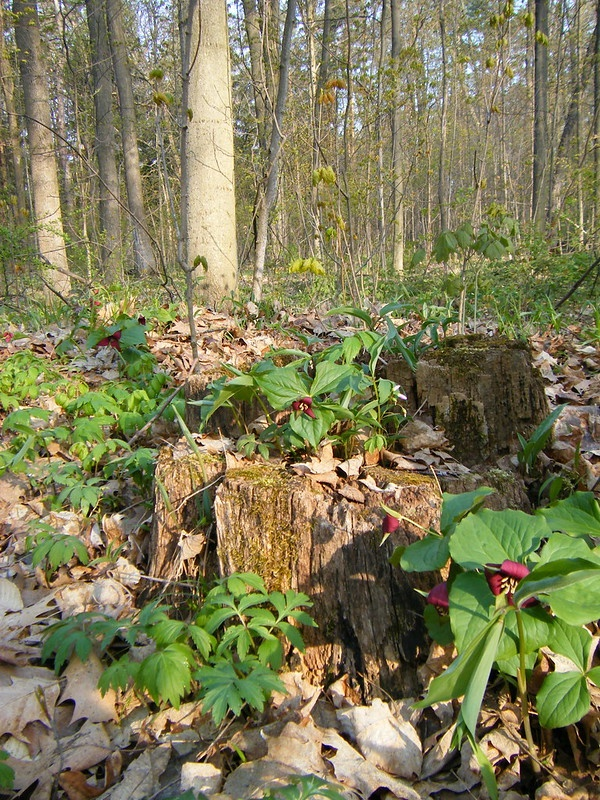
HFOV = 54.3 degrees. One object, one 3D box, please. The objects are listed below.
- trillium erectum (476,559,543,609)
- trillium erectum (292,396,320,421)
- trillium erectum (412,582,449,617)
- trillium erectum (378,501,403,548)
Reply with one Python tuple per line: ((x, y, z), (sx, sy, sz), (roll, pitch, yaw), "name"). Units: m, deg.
((0.501, 0.423, 1.397), (0.116, 0.095, 0.056), (18, 33, 13), "trillium erectum")
((0.014, 0.021, 2.141), (0.074, 0.086, 0.114), (-1, 9, -4), "trillium erectum")
((0.371, 0.553, 1.601), (0.060, 0.076, 0.112), (9, -16, -25), "trillium erectum")
((0.266, 0.386, 1.824), (0.050, 0.118, 0.105), (-9, 10, -31), "trillium erectum")
